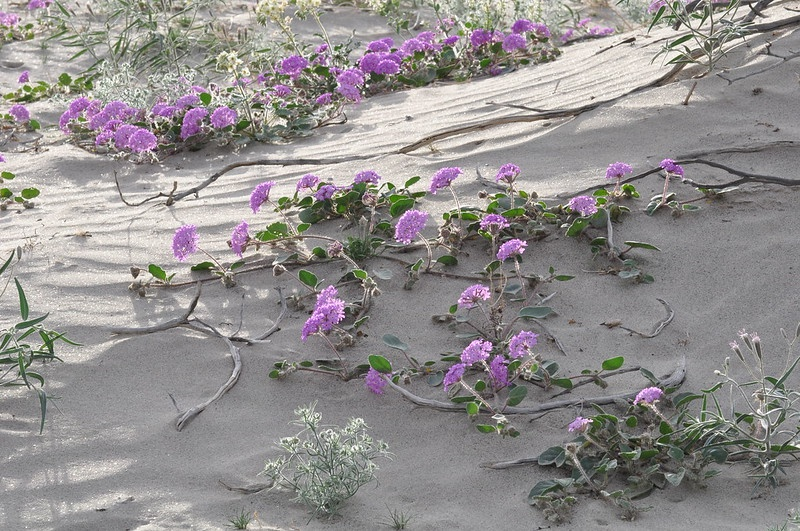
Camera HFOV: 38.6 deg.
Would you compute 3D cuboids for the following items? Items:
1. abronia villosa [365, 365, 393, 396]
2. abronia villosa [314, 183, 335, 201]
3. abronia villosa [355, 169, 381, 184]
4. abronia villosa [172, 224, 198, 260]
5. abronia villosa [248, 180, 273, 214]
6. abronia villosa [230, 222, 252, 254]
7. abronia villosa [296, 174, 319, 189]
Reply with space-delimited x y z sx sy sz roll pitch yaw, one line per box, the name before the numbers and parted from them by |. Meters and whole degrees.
abronia villosa | -0.121 0.645 6.314 0.125 0.159 0.080 -12 32 -2
abronia villosa | -0.460 -0.467 7.242 0.132 0.099 0.112 -16 31 -10
abronia villosa | -0.192 -0.569 7.244 0.123 0.066 0.115 0 5 3
abronia villosa | -1.285 -0.131 6.934 0.107 0.191 0.169 14 39 34
abronia villosa | -0.884 -0.435 7.365 0.197 0.115 0.201 -52 4 -2
abronia villosa | -0.951 -0.163 6.987 0.165 0.192 0.101 -10 -14 33
abronia villosa | -0.587 -0.535 7.359 0.139 0.093 0.135 -19 11 -5
